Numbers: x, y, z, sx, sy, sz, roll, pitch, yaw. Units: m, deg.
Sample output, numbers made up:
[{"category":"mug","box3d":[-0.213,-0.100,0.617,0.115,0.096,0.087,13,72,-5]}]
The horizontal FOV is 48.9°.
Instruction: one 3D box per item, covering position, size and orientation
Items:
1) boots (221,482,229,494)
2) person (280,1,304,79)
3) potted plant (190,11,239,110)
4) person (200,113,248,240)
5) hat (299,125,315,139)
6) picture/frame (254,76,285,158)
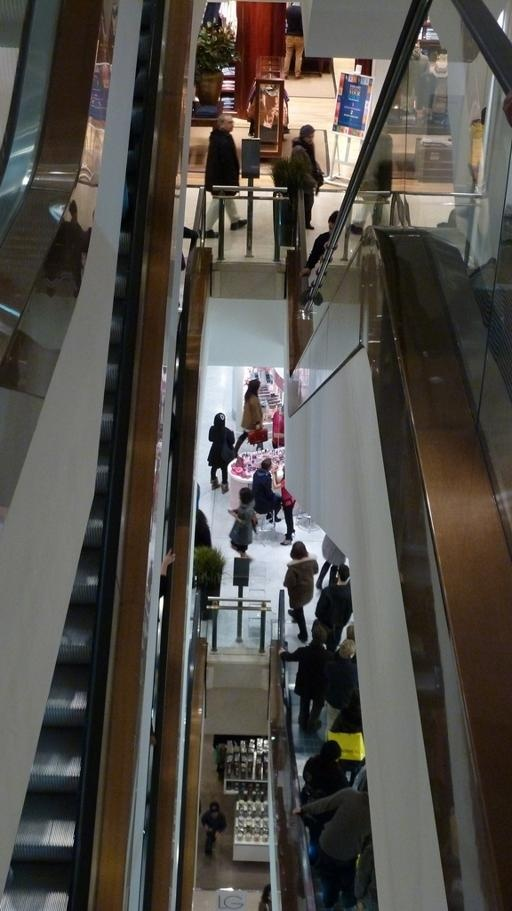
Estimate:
[{"category":"boots","box3d":[-0.569,0.593,10.128,0.077,0.231,0.174,1,-1,-2]},{"category":"person","box3d":[0.988,-10.673,14.414,0.481,1.880,0.903,3,11,2]},{"category":"potted plant","box3d":[-0.831,-7.929,11.372,0.783,1.636,1.291,2,12,-10]},{"category":"person","box3d":[-0.434,-3.854,7.837,0.536,1.638,0.539,2,10,-10]},{"category":"hat","box3d":[0.737,-4.743,8.208,0.161,0.212,0.366,8,15,10]},{"category":"picture/frame","box3d":[0.237,-6.160,10.289,0.526,1.367,0.433,3,10,-4]}]
